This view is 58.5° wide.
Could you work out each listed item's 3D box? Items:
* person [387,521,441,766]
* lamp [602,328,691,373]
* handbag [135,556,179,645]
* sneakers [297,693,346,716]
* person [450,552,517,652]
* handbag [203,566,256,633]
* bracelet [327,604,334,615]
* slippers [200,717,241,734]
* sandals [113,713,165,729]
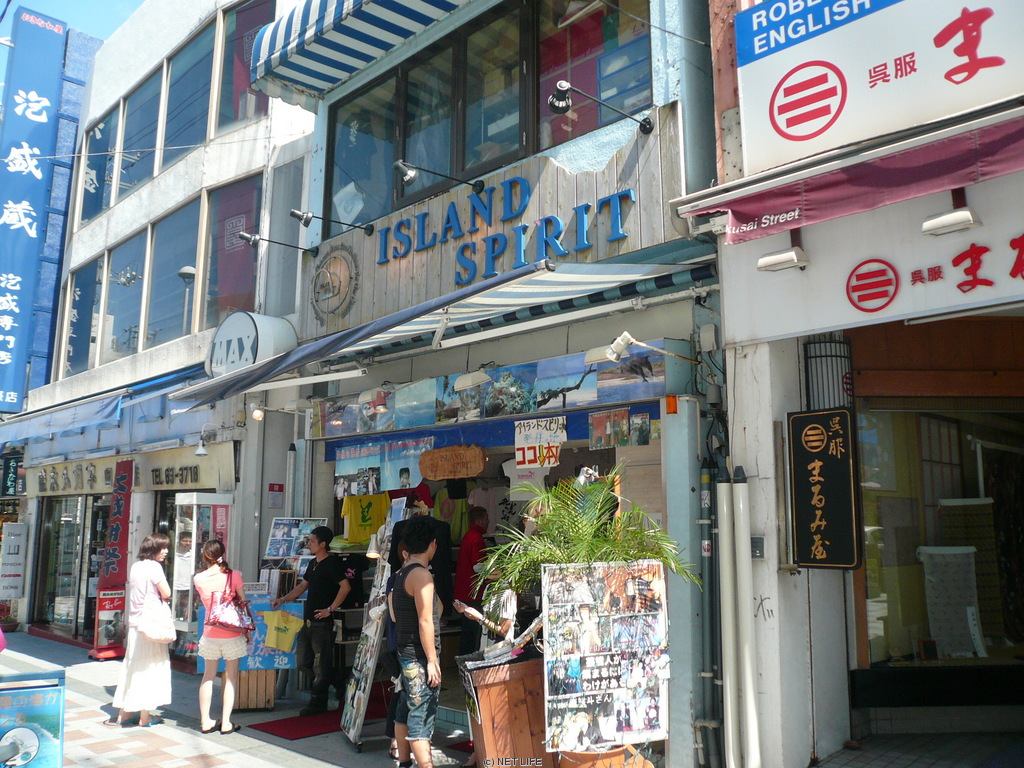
[{"bbox_3d":[-0.844,2.238,7.964,0.442,2.183,0.887,1,-13,-6],"label":"person"},{"bbox_3d":[1.301,-0.295,8.509,0.619,0.250,0.120,16,-55,7],"label":"lamp"},{"bbox_3d":[-3.785,2.312,9.695,0.419,0.857,0.230,6,-14,-24],"label":"handbag"},{"bbox_3d":[-2.104,3.598,10.208,0.586,0.262,0.192,16,-20,-38],"label":"sneakers"},{"bbox_3d":[-0.186,2.135,8.387,0.397,0.426,1.119,1,-37,12],"label":"person"},{"bbox_3d":[-2.950,2.276,9.478,0.266,0.626,0.485,-23,-34,35],"label":"handbag"},{"bbox_3d":[-1.980,2.475,9.956,0.025,0.089,0.092,29,-70,-35],"label":"bracelet"},{"bbox_3d":[-2.985,3.543,9.377,0.356,0.105,0.251,-2,-13,5],"label":"slippers"},{"bbox_3d":[-4.018,3.619,9.727,0.598,0.169,0.221,-2,-21,12],"label":"sandals"}]
